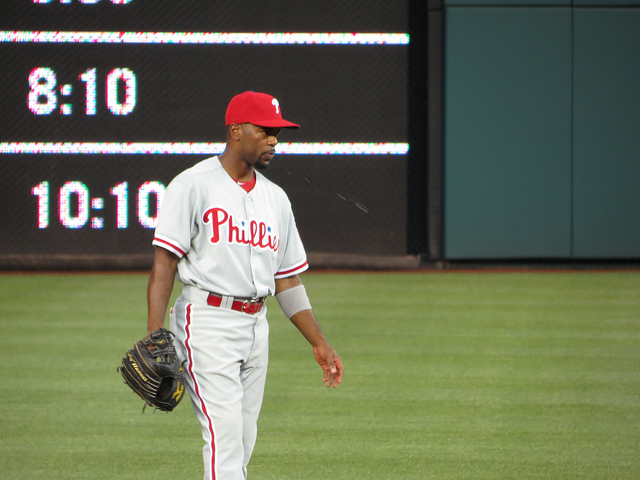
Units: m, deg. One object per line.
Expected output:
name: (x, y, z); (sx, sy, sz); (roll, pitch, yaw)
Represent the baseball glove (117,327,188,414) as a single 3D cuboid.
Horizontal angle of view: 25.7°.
baseball glove: (-1.401, 1.131, 11.760); (0.529, 0.696, 0.320); (20, 23, 5)
